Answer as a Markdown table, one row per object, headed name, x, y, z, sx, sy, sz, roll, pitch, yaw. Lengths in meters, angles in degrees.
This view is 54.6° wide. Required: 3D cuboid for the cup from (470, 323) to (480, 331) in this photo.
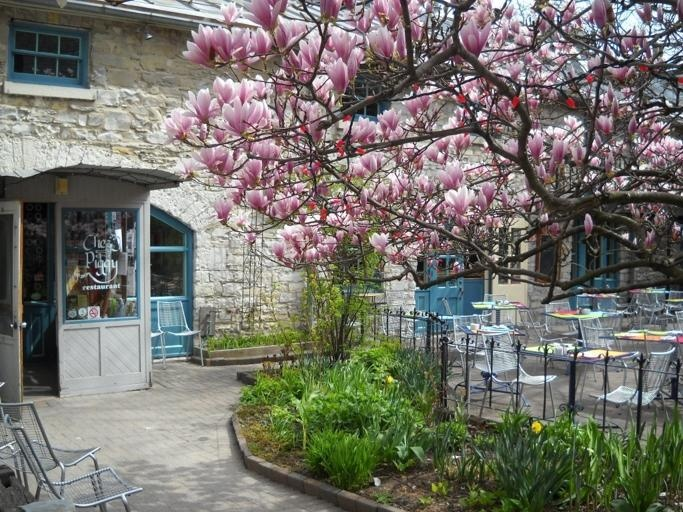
| name | x | y | z | sx | sy | sz | roll | pitch | yaw |
| --- | --- | --- | --- | --- | --- | --- | --- | --- | --- |
| cup | 2.022 | 1.080 | 10.051 | 0.099 | 0.118 | 0.116 | 1 | -2 | 18 |
